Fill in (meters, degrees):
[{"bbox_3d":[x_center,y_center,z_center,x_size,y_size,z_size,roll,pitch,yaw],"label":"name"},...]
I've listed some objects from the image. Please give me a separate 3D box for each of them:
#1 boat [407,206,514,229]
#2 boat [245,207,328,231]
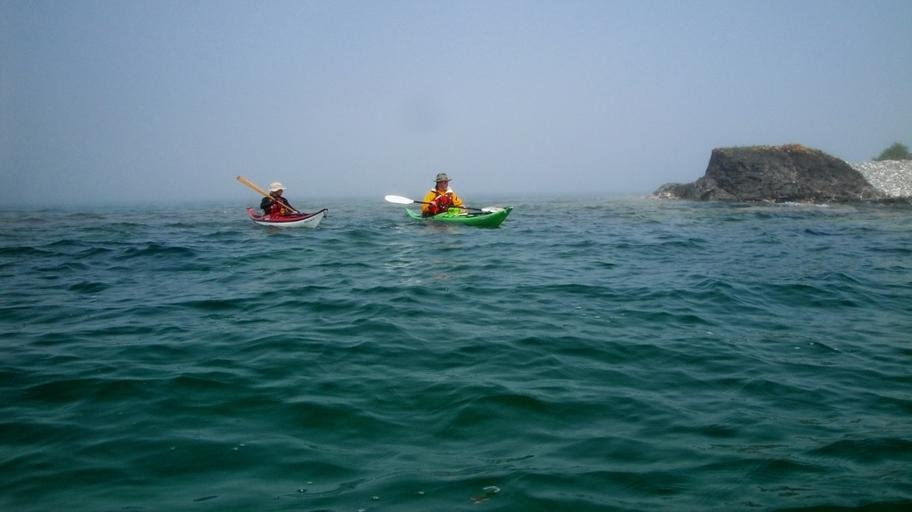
[{"bbox_3d":[-0.387,-1.531,25.544,5.905,0.804,1.382,2,5,39],"label":"boat"},{"bbox_3d":[-6.678,-1.532,24.685,3.418,0.805,1.273,8,10,40],"label":"boat"}]
